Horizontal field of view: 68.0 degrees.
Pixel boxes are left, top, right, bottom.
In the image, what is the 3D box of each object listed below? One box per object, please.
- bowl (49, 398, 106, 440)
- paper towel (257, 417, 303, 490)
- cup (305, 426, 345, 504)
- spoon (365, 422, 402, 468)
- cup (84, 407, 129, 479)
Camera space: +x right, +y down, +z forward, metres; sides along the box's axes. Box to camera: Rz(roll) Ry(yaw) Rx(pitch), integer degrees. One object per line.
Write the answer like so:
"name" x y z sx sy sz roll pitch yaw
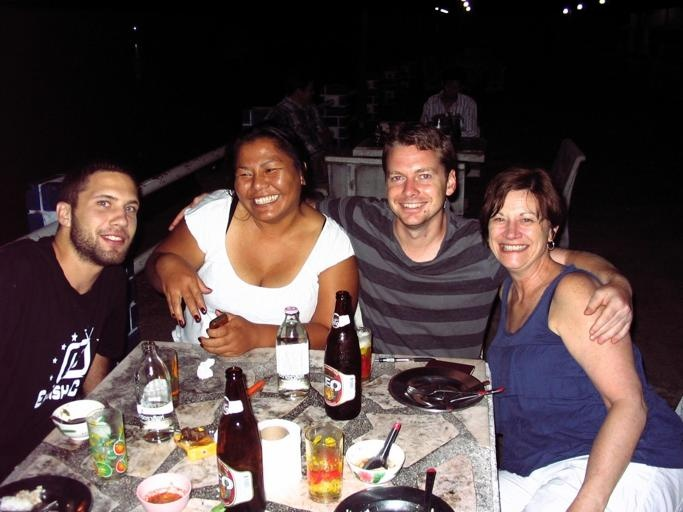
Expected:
"bowl" -0.990 0.646 1.956 0.196 0.096 0.187 7 24 -3
"paper towel" -0.209 0.696 1.793 0.202 0.208 0.199 1 -4 -37
"cup" -0.053 0.699 1.697 0.132 0.196 0.176 -5 23 -6
"spoon" 0.145 0.687 1.785 0.067 0.027 0.201 8 29 21
"cup" -0.817 0.664 1.781 0.130 0.196 0.167 -16 27 -29
